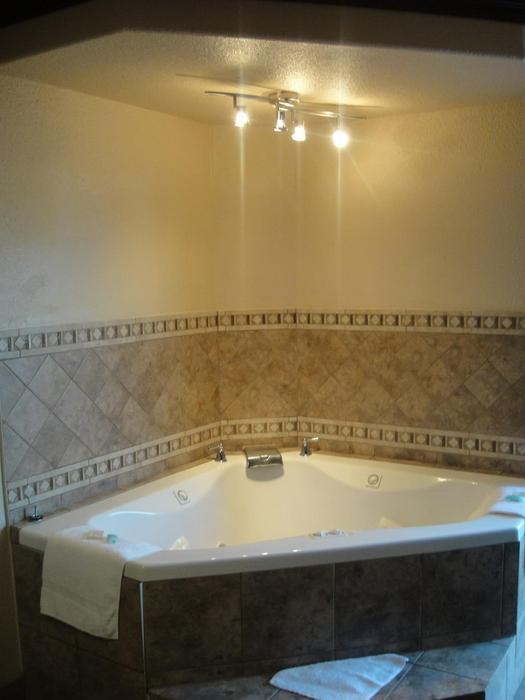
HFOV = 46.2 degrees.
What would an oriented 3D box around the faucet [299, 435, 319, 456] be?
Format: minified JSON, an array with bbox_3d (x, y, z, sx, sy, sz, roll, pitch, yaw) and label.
[{"bbox_3d":[0.238,0.514,3.269,0.064,0.126,0.116,1,0,22],"label":"faucet"}]

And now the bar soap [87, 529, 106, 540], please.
[{"bbox_3d":[-0.562,0.620,2.071,0.038,0.011,0.032,3,6,-1],"label":"bar soap"}]

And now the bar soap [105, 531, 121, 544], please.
[{"bbox_3d":[-0.503,0.624,2.055,0.034,0.029,0.037,-3,0,27],"label":"bar soap"}]

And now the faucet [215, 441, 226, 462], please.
[{"bbox_3d":[-0.207,0.528,3.144,0.056,0.094,0.074,7,-7,-41],"label":"faucet"}]
